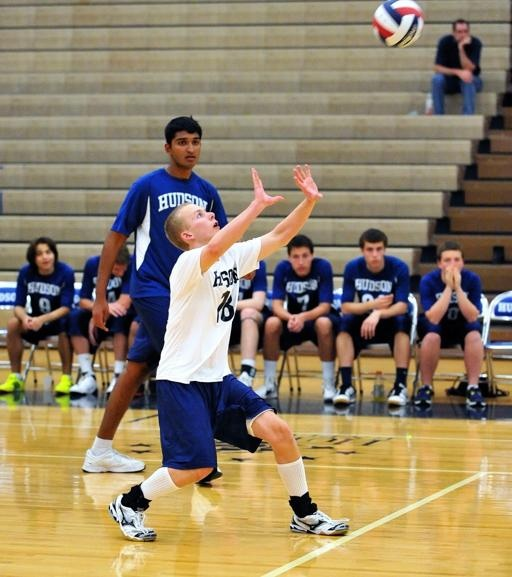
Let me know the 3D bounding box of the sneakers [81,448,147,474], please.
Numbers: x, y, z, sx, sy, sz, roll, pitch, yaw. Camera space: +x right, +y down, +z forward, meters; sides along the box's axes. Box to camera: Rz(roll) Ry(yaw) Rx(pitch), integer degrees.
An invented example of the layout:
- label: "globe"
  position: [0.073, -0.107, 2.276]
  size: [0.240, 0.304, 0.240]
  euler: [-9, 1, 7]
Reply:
- label: "sneakers"
  position: [-0.784, 0.946, 6.618]
  size: [0.373, 0.203, 0.145]
  euler: [2, -2, -9]

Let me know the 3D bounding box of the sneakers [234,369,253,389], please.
- label: "sneakers"
  position: [-0.074, 0.661, 8.780]
  size: [0.099, 0.163, 0.336]
  euler: [1, -2, 6]

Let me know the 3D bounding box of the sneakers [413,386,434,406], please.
- label: "sneakers"
  position: [1.241, 0.782, 8.665]
  size: [0.134, 0.147, 0.334]
  euler: [-2, -2, 8]

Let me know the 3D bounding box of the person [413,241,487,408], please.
- label: "person"
  position: [1.456, 0.262, 8.859]
  size: [0.510, 1.203, 0.771]
  euler: [-1, -2, 11]

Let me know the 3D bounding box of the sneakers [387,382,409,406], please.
- label: "sneakers"
  position: [1.056, 0.773, 8.693]
  size: [0.141, 0.160, 0.243]
  euler: [-2, -2, 8]

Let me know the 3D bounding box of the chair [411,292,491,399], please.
- label: "chair"
  position: [1.548, 0.456, 9.075]
  size: [0.590, 1.053, 0.690]
  euler: [0, -7, 3]

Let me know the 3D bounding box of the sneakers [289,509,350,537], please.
- label: "sneakers"
  position: [0.305, 1.100, 5.609]
  size: [0.249, 0.143, 0.114]
  euler: [0, -6, 9]

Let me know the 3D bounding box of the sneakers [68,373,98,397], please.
- label: "sneakers"
  position: [-1.375, 0.746, 9.296]
  size: [0.092, 0.245, 0.293]
  euler: [-1, -3, 34]

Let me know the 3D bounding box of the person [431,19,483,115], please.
- label: "person"
  position: [2.158, -2.312, 12.645]
  size: [0.531, 1.023, 0.425]
  euler: [-1, -2, 10]

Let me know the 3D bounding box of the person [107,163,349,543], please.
- label: "person"
  position: [-0.157, 0.297, 5.420]
  size: [1.021, 1.707, 0.501]
  euler: [-1, -2, -11]

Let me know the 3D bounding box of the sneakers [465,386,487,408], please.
- label: "sneakers"
  position: [1.610, 0.774, 8.587]
  size: [0.138, 0.152, 0.330]
  euler: [-2, -2, 11]

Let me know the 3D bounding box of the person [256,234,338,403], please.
- label: "person"
  position: [0.393, 0.209, 9.126]
  size: [0.535, 1.312, 0.737]
  euler: [-2, -6, 21]
